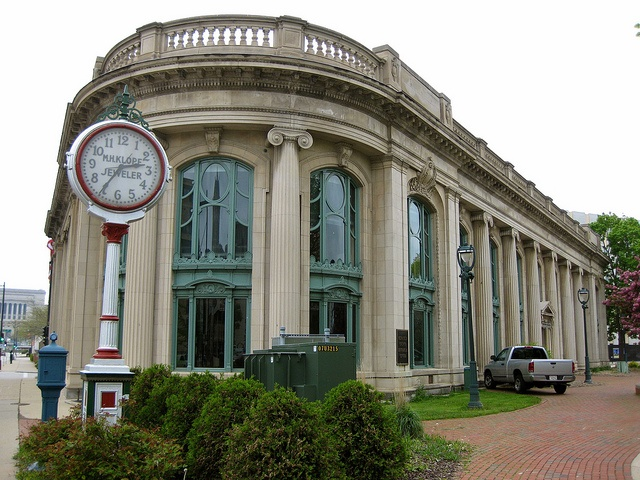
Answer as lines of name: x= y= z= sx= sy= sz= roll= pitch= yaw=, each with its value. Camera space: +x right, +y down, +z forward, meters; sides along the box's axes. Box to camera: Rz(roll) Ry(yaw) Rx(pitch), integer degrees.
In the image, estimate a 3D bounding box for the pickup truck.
pickup truck: x=9.024 y=5.780 z=33.481 sx=1.839 sy=1.445 sz=3.578 roll=8 pitch=-12 yaw=-22
